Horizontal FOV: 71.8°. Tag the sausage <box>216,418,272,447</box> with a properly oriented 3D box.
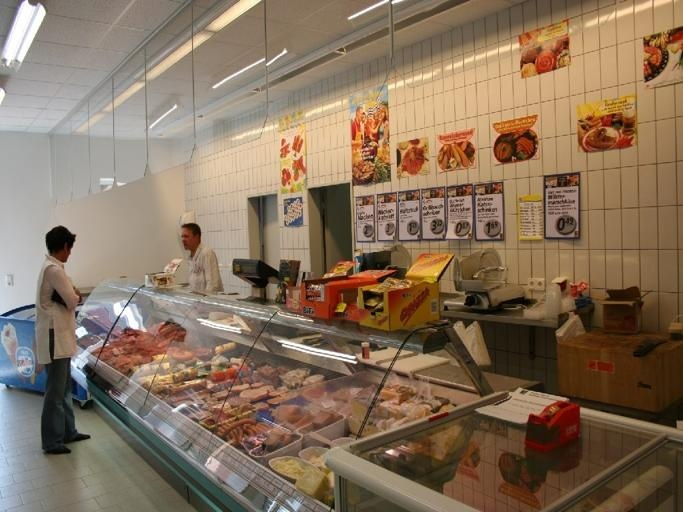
[{"bbox_3d":[-0.509,0.897,2.442,0.143,0.048,0.200,-27,21,-38],"label":"sausage"}]

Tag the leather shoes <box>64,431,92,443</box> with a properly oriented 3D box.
[{"bbox_3d":[-2.341,1.579,4.194,0.208,0.083,0.069,-6,11,-34],"label":"leather shoes"}]
